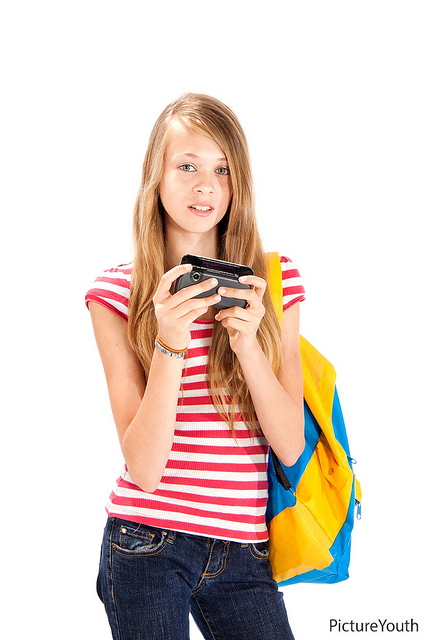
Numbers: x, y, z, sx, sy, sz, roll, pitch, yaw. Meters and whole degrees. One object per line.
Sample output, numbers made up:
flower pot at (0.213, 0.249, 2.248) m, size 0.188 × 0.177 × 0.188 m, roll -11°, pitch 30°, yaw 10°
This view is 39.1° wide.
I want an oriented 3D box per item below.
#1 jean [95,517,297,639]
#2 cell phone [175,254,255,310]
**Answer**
jean at (-0.040, 0.640, 1.480) m, size 0.420 × 0.338 × 0.252 m, roll 12°, pitch -46°, yaw -32°
cell phone at (0.006, -0.087, 1.349) m, size 0.189 × 0.059 × 0.091 m, roll 7°, pitch -43°, yaw -28°
